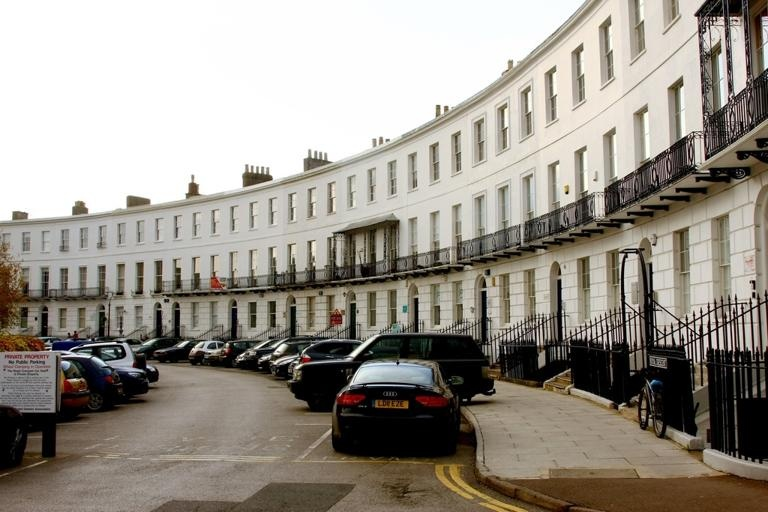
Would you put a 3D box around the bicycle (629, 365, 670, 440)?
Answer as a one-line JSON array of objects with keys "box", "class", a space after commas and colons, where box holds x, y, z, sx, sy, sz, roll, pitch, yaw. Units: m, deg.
[{"box": [6.632, 3.648, 25.076, 0.559, 1.714, 1.583, -5, -11, 7], "class": "bicycle"}]

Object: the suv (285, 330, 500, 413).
[{"box": [0.243, 3.503, 30.256, 5.701, 1.836, 2.477, 2, -8, -9], "class": "suv"}]
